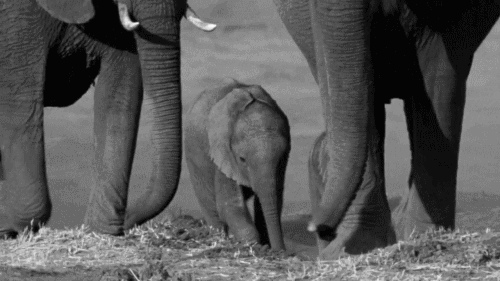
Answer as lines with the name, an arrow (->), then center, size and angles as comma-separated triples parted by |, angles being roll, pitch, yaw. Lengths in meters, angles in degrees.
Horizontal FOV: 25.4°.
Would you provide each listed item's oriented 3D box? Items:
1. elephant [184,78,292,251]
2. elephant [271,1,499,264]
elephant -> -0.079, 0.223, 9.063 | 0.724, 1.406, 1.696 | -8, 12, -15
elephant -> 0.982, -0.092, 8.097 | 0.983, 1.604, 1.493 | 2, 1, 40
